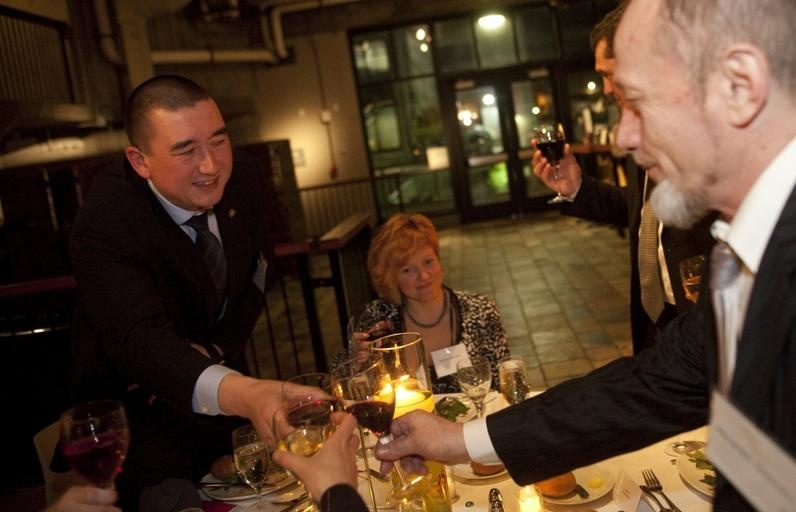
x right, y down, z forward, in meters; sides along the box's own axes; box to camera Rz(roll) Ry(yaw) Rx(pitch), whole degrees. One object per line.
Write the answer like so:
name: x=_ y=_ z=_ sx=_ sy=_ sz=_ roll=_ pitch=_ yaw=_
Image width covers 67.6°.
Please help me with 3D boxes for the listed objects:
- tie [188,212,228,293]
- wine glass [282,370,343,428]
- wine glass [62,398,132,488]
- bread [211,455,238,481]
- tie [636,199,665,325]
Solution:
tie: x=-0.817 y=-0.004 z=2.584 sx=0.073 sy=0.310 sz=0.168 roll=9 pitch=22 yaw=40
wine glass: x=-0.235 y=0.396 z=1.649 sx=0.125 sy=0.133 sz=0.111 roll=-1 pitch=4 yaw=-14
wine glass: x=-0.876 y=0.549 z=1.740 sx=0.173 sy=0.198 sz=0.163 roll=-17 pitch=16 yaw=-29
bread: x=-0.588 y=0.726 z=2.037 sx=0.064 sy=0.050 sz=0.085 roll=-4 pitch=57 yaw=25
tie: x=1.173 y=0.003 z=2.766 sx=0.137 sy=0.642 sz=0.012 roll=0 pitch=-4 yaw=-10
